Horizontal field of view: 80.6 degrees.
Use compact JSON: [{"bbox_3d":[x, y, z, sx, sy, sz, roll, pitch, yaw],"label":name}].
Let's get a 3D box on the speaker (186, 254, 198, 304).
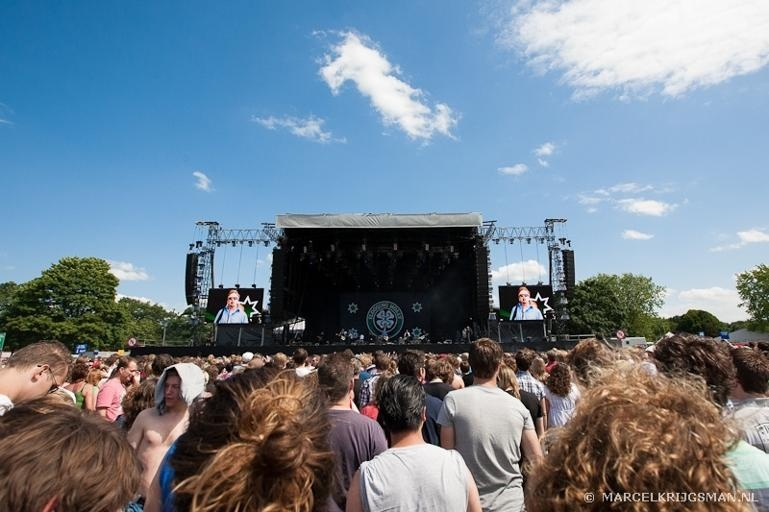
[{"bbox_3d":[-9.887,1.140,23.263,0.539,2.611,0.413,4,-9,-29],"label":"speaker"}]
